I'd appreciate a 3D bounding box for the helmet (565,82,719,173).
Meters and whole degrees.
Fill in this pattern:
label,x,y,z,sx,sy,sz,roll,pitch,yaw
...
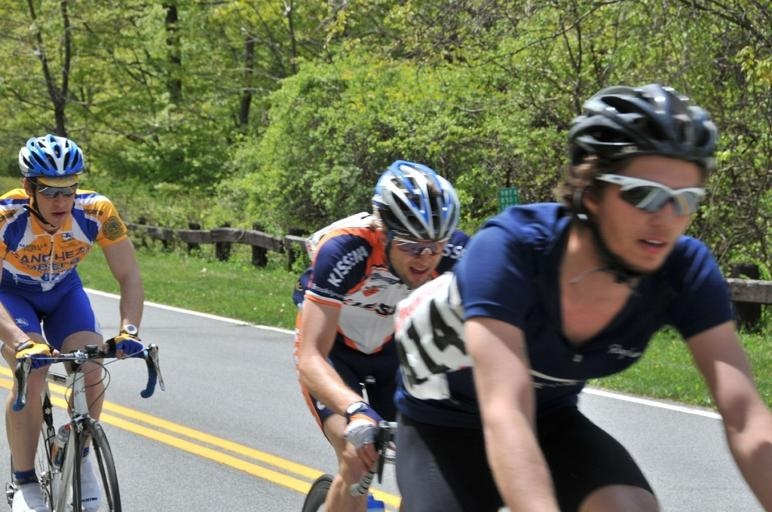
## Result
label,x,y,z,sx,sy,sz,roll,pitch,yaw
helmet,1.307,-0.656,3.934,0.440,0.285,0.616,4,0,-8

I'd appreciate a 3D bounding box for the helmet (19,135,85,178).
label,x,y,z,sx,sy,sz,roll,pitch,yaw
helmet,-2.648,-0.785,6.112,0.529,0.320,0.305,1,13,10

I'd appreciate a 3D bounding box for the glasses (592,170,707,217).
label,x,y,z,sx,sy,sz,roll,pitch,yaw
glasses,1.359,-0.311,3.928,0.555,0.209,0.121,-2,13,-4
